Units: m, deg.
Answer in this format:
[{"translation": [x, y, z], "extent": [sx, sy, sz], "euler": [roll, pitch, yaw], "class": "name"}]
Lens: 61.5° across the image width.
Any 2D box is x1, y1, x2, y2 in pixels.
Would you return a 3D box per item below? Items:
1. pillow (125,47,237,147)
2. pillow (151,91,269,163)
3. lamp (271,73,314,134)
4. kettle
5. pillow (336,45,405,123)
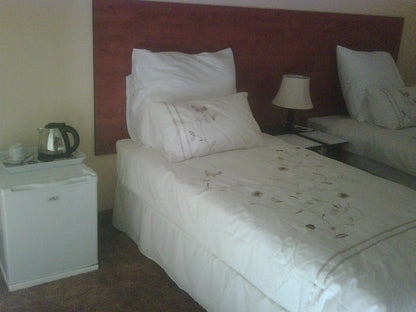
[{"translation": [-0.182, -0.381, 2.087], "extent": [0.642, 0.588, 0.151], "euler": [0, -6, -25], "class": "pillow"}, {"translation": [-0.030, -0.171, 1.965], "extent": [0.631, 0.381, 0.181], "euler": [-10, -22, -25], "class": "pillow"}, {"translation": [0.628, -0.394, 2.613], "extent": [0.287, 0.428, 0.289], "euler": [15, 31, 22], "class": "lamp"}, {"translation": [-0.780, -0.089, 1.837], "extent": [0.221, 0.194, 0.166], "euler": [-3, 20, -28], "class": "kettle"}, {"translation": [1.226, -0.628, 2.907], "extent": [0.607, 0.621, 0.342], "euler": [-10, 23, -25], "class": "pillow"}]
